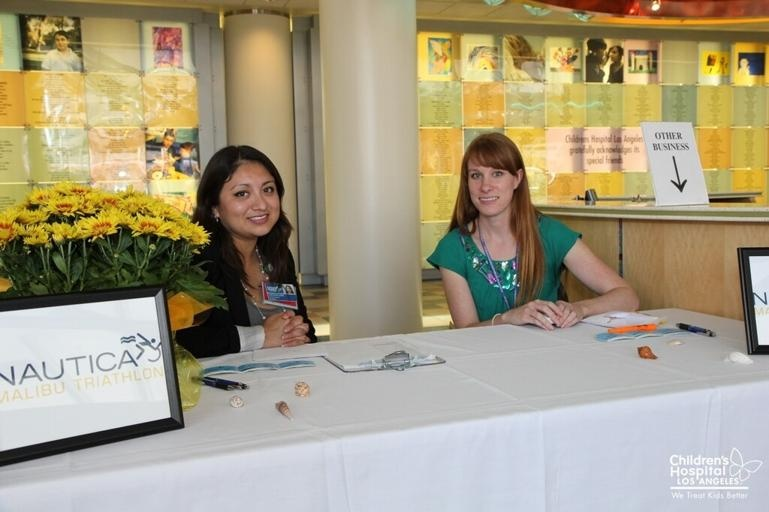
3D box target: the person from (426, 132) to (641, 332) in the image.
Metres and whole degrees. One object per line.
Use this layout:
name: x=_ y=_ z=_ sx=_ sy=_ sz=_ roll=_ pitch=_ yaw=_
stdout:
person: x=0.707 y=-0.122 z=2.507 sx=0.756 sy=0.931 sz=0.902 roll=-6 pitch=11 yaw=-21
